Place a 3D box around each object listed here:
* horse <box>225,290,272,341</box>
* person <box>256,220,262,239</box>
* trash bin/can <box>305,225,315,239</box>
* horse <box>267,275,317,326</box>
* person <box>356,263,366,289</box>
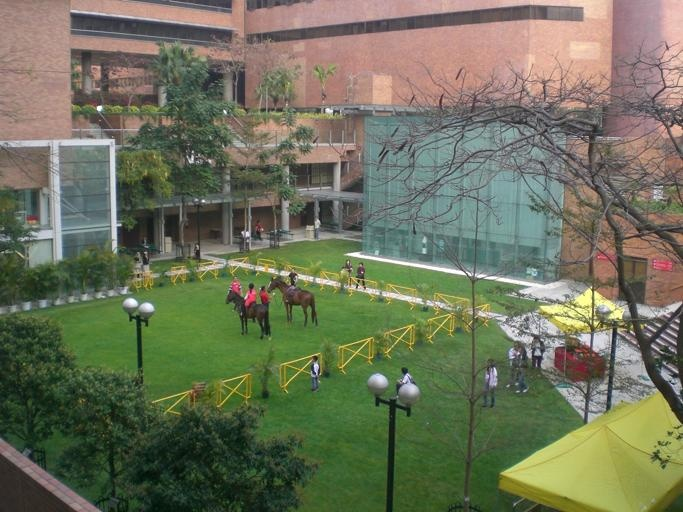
[{"bbox_3d":[-4.350,2.732,38.189,2.564,2.032,0.657,7,8,29],"label":"horse"},{"bbox_3d":[-6.458,-1.911,63.507,0.395,1.312,1.187,-3,3,-11],"label":"person"},{"bbox_3d":[-2.516,-1.888,65.644,0.735,1.095,1.948,-2,3,-6],"label":"trash bin/can"},{"bbox_3d":[-2.246,2.263,39.901,2.274,2.293,0.956,0,4,29],"label":"horse"},{"bbox_3d":[1.110,1.197,47.320,0.552,1.335,1.853,-2,3,0],"label":"person"}]
